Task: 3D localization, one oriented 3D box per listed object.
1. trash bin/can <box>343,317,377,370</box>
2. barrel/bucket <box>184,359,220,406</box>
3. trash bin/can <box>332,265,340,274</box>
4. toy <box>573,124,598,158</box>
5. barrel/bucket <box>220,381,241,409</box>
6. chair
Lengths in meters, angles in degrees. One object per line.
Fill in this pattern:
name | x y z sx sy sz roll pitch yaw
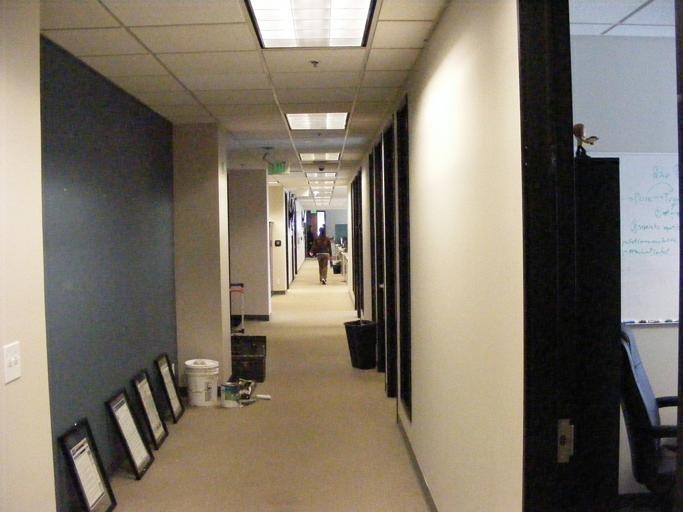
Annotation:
trash bin/can | 0.178 1.081 6.783 0.464 0.638 0.530 -1 -2 -3
barrel/bucket | -1.364 1.269 5.560 0.384 0.462 0.404 -1 1 0
trash bin/can | -0.152 0.428 19.451 0.226 0.432 0.488 -2 6 -10
toy | 1.263 -0.611 2.815 0.124 0.156 0.090 1 20 12
barrel/bucket | -1.103 1.407 5.483 0.210 0.245 0.219 0 0 0
chair | 1.847 0.976 3.270 0.316 1.115 0.656 3 7 29
